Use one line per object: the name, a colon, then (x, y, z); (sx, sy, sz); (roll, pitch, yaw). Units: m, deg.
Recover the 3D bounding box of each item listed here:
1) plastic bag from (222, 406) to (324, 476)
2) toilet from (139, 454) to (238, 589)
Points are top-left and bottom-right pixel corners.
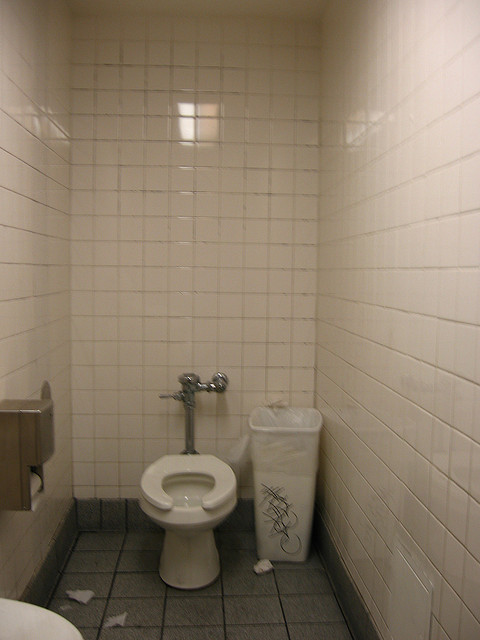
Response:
plastic bag: (0.167, 0.560, 2.286); (0.385, 0.331, 0.272); (-1, 7, -2)
toilet: (-0.222, 0.892, 2.133); (0.336, 0.446, 0.484); (0, 5, -5)
